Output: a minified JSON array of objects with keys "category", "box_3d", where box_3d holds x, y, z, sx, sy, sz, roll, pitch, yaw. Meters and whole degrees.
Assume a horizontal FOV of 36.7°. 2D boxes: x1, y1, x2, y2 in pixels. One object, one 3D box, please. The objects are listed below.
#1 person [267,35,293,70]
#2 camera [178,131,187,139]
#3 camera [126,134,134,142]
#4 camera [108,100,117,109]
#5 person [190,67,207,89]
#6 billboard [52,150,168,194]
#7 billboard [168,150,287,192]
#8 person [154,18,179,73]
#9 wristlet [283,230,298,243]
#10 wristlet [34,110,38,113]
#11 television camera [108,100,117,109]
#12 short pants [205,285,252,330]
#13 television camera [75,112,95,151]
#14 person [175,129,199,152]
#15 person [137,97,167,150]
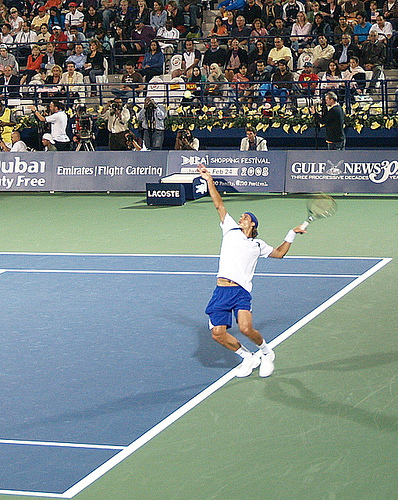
[{"category":"person","box_3d":[2.914,-7.258,22.490,1.174,1.319,1.043,3,24,15]},{"category":"camera","box_3d":[-0.511,-3.642,19.051,0.236,0.229,0.127,-3,12,-6]},{"category":"camera","box_3d":[-2.261,-3.669,19.765,0.277,0.213,0.178,6,-2,21]},{"category":"camera","box_3d":[-2.866,-4.835,20.076,0.307,0.118,0.282,0,46,-6]},{"category":"person","box_3d":[-0.020,-6.345,22.369,0.610,0.814,1.513,-2,10,0]},{"category":"billboard","box_3d":[-2.820,-2.489,19.352,4.040,1.339,0.063,-4,10,-29]},{"category":"billboard","box_3d":[0.849,-2.419,18.403,3.916,1.374,0.047,-1,-15,-9]},{"category":"person","box_3d":[-1.398,-8.687,25.448,0.926,1.986,0.640,6,-1,-9]},{"category":"wristlet","box_3d":[0.926,-0.145,6.055,0.116,0.156,0.079,19,-26,3]},{"category":"wristlet","box_3d":[-5.762,-4.899,21.251,0.111,0.042,0.161,4,4,43]},{"category":"television camera","box_3d":[-2.865,-4.850,20.083,0.151,0.288,0.337,-7,12,-23]},{"category":"short pants","box_3d":[0.283,0.473,5.670,0.412,0.401,0.487,8,13,14]},{"category":"television camera","box_3d":[-3.890,-3.938,20.379,0.847,1.350,0.745,-1,15,-11]},{"category":"person","box_3d":[-0.426,-3.587,19.690,0.727,0.732,2.148,-2,10,-2]},{"category":"person","box_3d":[-1.621,-4.397,21.019,0.902,1.740,1.132,-3,12,-8]}]
